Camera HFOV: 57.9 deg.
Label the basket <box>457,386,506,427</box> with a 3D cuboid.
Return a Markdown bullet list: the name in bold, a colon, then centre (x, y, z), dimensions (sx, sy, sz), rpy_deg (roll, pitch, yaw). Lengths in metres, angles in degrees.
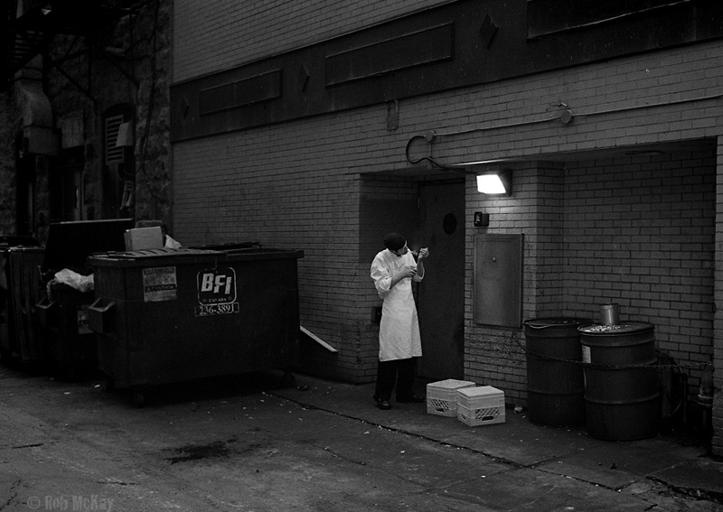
- **basket**: centre (1.532, 1.917, 8.531), dimensions (0.484, 0.371, 0.487), rpy_deg (-1, 2, -12)

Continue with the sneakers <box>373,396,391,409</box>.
- **sneakers**: centre (0.298, 2.071, 9.187), dimensions (0.102, 0.105, 0.237), rpy_deg (-1, 0, -37)

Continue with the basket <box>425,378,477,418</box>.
- **basket**: centre (1.144, 1.903, 8.873), dimensions (0.479, 0.371, 0.484), rpy_deg (1, -2, -26)

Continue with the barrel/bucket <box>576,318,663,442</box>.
- **barrel/bucket**: centre (3.122, 1.538, 8.185), dimensions (1.195, 1.760, 1.209), rpy_deg (-3, -4, 0)

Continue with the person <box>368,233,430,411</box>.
- **person**: centre (0.529, 0.904, 9.281), dimensions (0.739, 2.434, 0.574), rpy_deg (0, 5, -2)
